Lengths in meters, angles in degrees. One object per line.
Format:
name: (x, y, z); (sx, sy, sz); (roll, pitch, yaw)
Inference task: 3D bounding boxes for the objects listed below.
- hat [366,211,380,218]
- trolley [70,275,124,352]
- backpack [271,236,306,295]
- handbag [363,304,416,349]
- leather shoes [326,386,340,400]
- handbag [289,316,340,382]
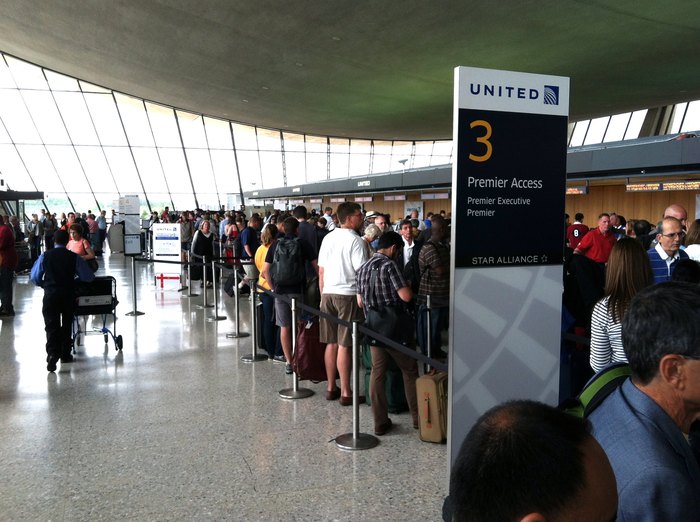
hat: (0.389, -0.862, 9.874); (0.202, 0.067, 0.205); (1, 5, 23)
trolley: (-3.680, 0.770, 7.850); (0.752, 0.980, 0.962); (-2, -5, -20)
backpack: (-0.731, 0.042, 6.602); (0.416, 0.641, 0.349); (1, 5, 14)
handbag: (0.380, 0.551, 5.152); (0.404, 0.439, 0.308); (15, 1, -2)
leather shoes: (-0.186, 1.455, 5.959); (0.071, 0.092, 0.216); (2, 6, 16)
handbag: (-0.431, 1.028, 6.473); (0.542, 1.051, 0.782); (-1, 3, -13)
